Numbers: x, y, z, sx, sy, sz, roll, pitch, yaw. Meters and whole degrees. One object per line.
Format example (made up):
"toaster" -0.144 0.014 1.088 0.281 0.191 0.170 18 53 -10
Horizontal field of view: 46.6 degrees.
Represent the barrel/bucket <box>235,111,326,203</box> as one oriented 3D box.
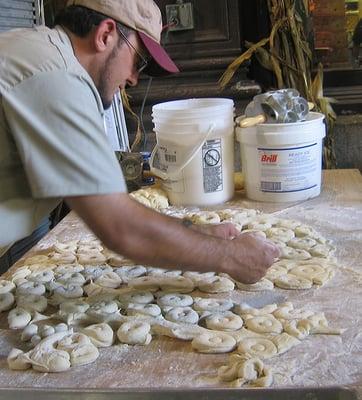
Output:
"barrel/bucket" 0.329 -0.175 1.670 0.419 0.285 0.364 -7 12 -4
